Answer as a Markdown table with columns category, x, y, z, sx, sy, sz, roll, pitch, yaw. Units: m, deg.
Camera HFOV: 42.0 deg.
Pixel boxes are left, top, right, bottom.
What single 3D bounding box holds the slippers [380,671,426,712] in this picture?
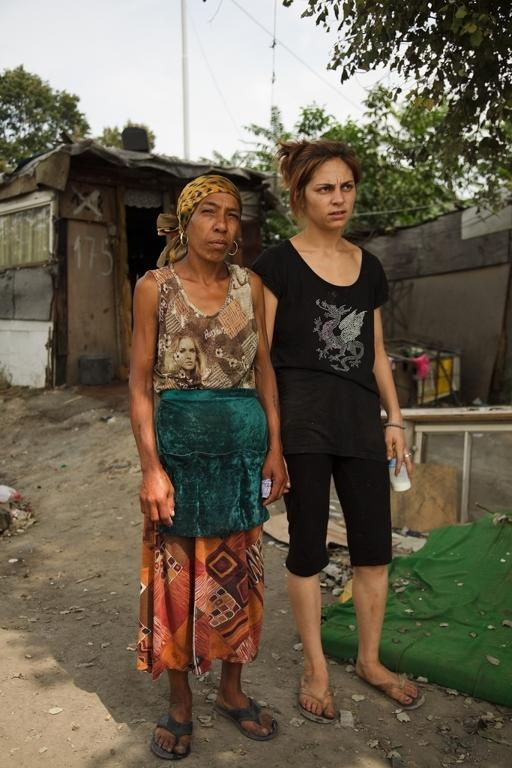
| category | x | y | z | sx | sy | sz | roll | pitch | yaw |
| --- | --- | --- | --- | --- | --- | --- | --- | --- | --- |
| slippers | 0.546 | 1.146 | 2.503 | 0.077 | 0.050 | 0.159 | -34 | 25 | -32 |

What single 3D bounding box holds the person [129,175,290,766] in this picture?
| category | x | y | z | sx | sy | sz | roll | pitch | yaw |
| --- | --- | --- | --- | --- | --- | --- | --- | --- | --- |
| person | -0.146 | 0.392 | 2.216 | 0.514 | 1.611 | 0.265 | -3 | 4 | -39 |

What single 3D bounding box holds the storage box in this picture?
| category | x | y | z | sx | sy | sz | roll | pitch | yaw |
| --- | --- | --- | --- | --- | --- | --- | --- | --- | --- |
| storage box | 1.282 | 0.831 | 4.750 | 0.494 | 0.485 | 0.139 | -2 | -11 | 29 |

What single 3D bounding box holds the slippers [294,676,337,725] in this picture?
| category | x | y | z | sx | sy | sz | roll | pitch | yaw |
| --- | --- | --- | --- | --- | --- | --- | --- | --- | --- |
| slippers | 0.226 | 1.121 | 2.353 | 0.078 | 0.082 | 0.204 | 1 | -10 | -1 |

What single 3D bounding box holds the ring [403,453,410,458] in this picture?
| category | x | y | z | sx | sy | sz | roll | pitch | yaw |
| --- | --- | --- | --- | --- | --- | --- | --- | --- | --- |
| ring | 0.585 | 0.273 | 2.586 | 0.021 | 0.005 | 0.021 | 0 | 9 | 0 |
